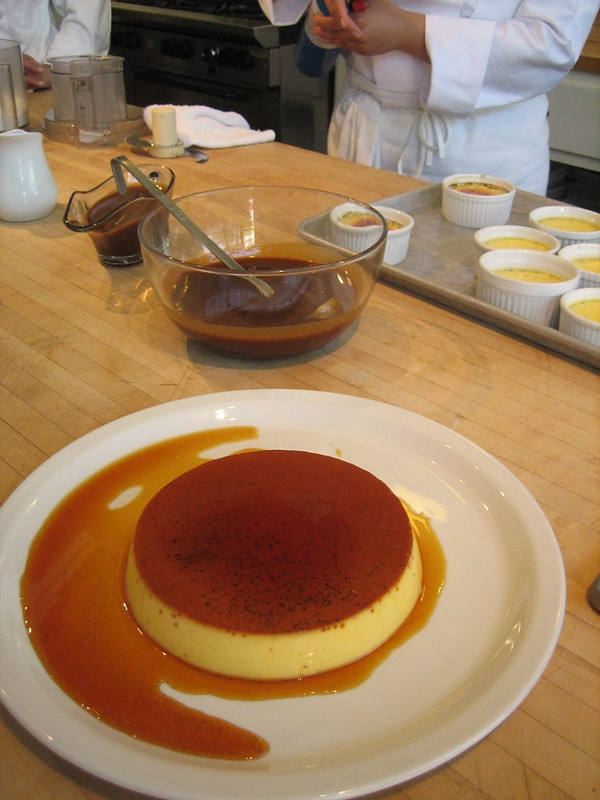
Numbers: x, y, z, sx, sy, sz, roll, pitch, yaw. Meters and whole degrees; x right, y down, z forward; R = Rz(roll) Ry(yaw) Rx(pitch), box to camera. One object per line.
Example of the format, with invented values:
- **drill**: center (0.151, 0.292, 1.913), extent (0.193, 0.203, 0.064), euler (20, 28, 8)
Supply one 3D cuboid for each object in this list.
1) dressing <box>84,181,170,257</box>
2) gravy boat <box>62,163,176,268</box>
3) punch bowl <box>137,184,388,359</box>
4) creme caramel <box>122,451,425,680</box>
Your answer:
- **dressing**: center (-0.241, -0.283, 1.042), extent (0.135, 0.086, 0.099), euler (-36, 55, -26)
- **gravy boat**: center (-0.266, -0.276, 1.077), extent (0.233, 0.145, 0.178), euler (5, 31, -2)
- **punch bowl**: center (-0.071, -0.160, 0.810), extent (0.284, 0.122, 0.290), euler (2, 34, -1)
- **creme caramel**: center (-0.018, 0.106, 0.491), extent (0.211, 0.038, 0.198), euler (-12, 36, -17)
